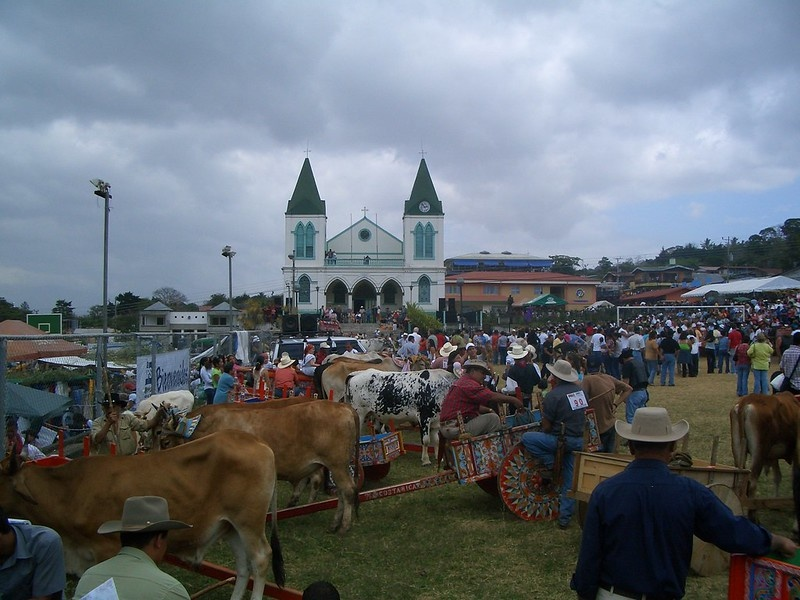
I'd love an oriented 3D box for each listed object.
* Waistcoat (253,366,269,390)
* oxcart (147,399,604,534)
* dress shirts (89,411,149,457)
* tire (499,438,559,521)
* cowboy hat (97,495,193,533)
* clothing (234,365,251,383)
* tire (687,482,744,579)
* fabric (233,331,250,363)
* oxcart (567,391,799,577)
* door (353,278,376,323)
[{"bbox_3d":[-2.902,1.617,13.809,0.442,0.606,0.335,3,-12,-10],"label":"Waistcoat"},{"bbox_3d":[-0.080,2.142,8.846,4.147,1.333,2.298,0,-4,-14],"label":"oxcart"},{"bbox_3d":[-3.448,1.664,8.198,0.453,0.559,0.245,-4,-13,-29],"label":"dress shirts"},{"bbox_3d":[1.767,2.406,8.953,0.833,0.882,0.119,25,-1,-12],"label":"tire"},{"bbox_3d":[-1.951,1.650,5.120,0.685,0.274,0.575,12,-17,-44],"label":"cowboy hat"},{"bbox_3d":[-3.656,1.715,15.370,0.306,0.503,1.289,-3,-5,-21],"label":"clothing"},{"bbox_3d":[3.487,2.522,7.256,0.614,1.036,0.193,-2,2,-12],"label":"tire"},{"bbox_3d":[-4.764,1.388,19.828,0.215,1.105,0.976,-2,-2,14],"label":"fabric"},{"bbox_3d":[3.636,2.097,8.335,3.144,1.946,1.876,9,-11,-29],"label":"oxcart"},{"bbox_3d":[-3.360,0.342,63.284,2.809,5.761,0.477,-3,37,-7],"label":"door"}]
